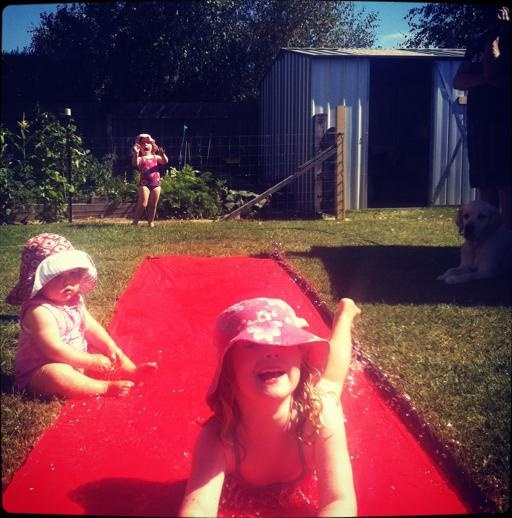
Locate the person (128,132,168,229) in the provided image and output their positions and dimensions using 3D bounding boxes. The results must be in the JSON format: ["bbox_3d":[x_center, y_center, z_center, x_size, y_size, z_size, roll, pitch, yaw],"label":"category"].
[{"bbox_3d":[-1.599,-1.163,7.770,0.539,1.399,1.969,-3,13,-11],"label":"person"}]

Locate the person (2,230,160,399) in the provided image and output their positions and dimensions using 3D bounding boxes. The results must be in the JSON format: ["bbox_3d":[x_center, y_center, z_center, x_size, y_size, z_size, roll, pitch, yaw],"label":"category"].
[{"bbox_3d":[-0.801,0.227,2.288,0.639,0.602,0.472,2,12,15],"label":"person"}]

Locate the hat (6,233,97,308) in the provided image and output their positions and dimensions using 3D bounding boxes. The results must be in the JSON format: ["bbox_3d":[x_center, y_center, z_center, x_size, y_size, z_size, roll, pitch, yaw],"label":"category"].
[{"bbox_3d":[-0.920,0.012,2.295,0.307,0.249,0.337,-32,-3,-32],"label":"hat"}]

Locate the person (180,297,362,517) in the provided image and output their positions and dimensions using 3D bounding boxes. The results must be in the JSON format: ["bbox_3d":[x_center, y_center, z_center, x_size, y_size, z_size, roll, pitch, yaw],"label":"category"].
[{"bbox_3d":[0.044,0.441,1.476,0.247,0.438,0.878,-1,15,2],"label":"person"}]
